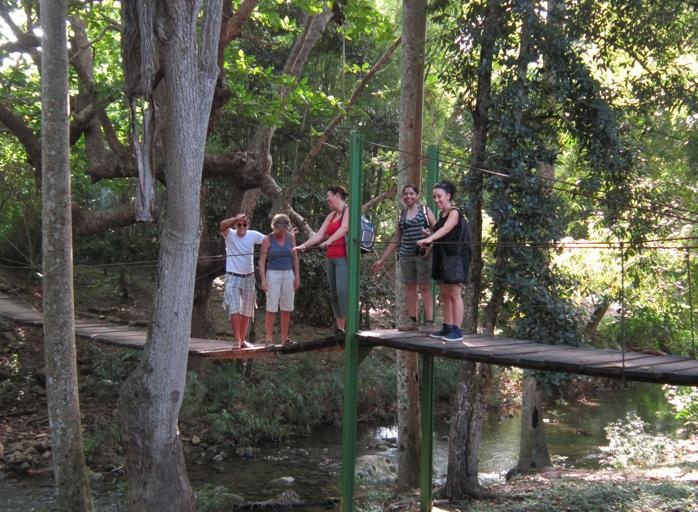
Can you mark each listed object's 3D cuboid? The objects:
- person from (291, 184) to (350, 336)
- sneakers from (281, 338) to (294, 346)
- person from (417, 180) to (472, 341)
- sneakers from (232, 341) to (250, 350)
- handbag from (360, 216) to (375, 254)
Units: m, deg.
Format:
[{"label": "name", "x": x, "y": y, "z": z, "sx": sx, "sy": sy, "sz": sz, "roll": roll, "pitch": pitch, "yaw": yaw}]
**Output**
[{"label": "person", "x": -0.331, "y": 0.033, "z": 13.581, "sx": 0.621, "sy": 2.461, "sz": 0.928, "roll": 3, "pitch": -10, "yaw": -3}, {"label": "sneakers", "x": -1.021, "y": 1.421, "z": 13.939, "sx": 0.086, "sy": 0.115, "sz": 0.269, "roll": 4, "pitch": -10, "yaw": -32}, {"label": "person", "x": 1.481, "y": 0.051, "z": 12.667, "sx": 0.710, "sy": 2.452, "sz": 0.737, "roll": 1, "pitch": -10, "yaw": 4}, {"label": "sneakers", "x": -1.804, "y": 1.489, "z": 14.020, "sx": 0.239, "sy": 0.112, "sz": 0.134, "roll": -6, "pitch": -10, "yaw": 15}, {"label": "handbag", "x": 0.299, "y": -0.376, "z": 13.181, "sx": 0.196, "sy": 0.639, "sz": 0.506, "roll": 2, "pitch": -11, "yaw": 3}]
